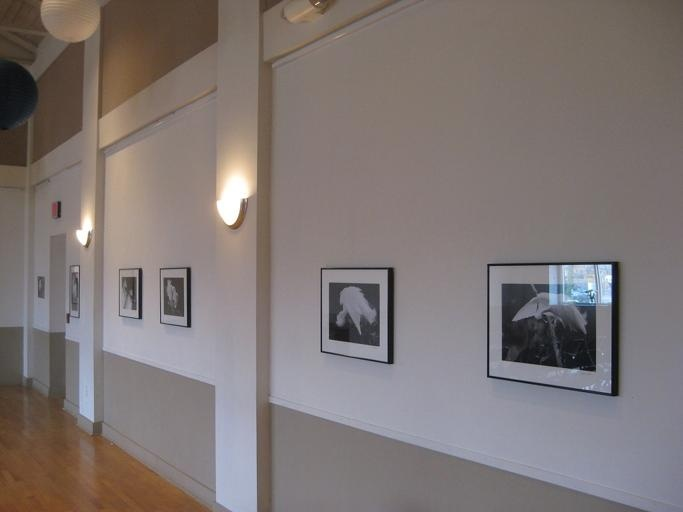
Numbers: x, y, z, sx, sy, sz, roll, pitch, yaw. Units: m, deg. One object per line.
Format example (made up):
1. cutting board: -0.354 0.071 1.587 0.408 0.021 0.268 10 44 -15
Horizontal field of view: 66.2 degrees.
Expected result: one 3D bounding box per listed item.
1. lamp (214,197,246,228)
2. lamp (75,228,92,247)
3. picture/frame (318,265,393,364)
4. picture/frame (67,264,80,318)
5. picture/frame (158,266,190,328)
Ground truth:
1. lamp: -0.948 -0.354 4.478 0.100 0.256 0.401 -2 2 -42
2. lamp: -3.397 -0.254 6.937 0.260 0.302 0.072 0 6 35
3. picture/frame: 0.122 0.412 3.698 0.618 0.684 0.064 -3 -5 42
4. picture/frame: -3.839 0.502 7.518 0.042 0.897 0.702 -3 1 -36
5. picture/frame: -1.685 0.412 5.320 0.056 0.623 0.557 1 -3 -35
